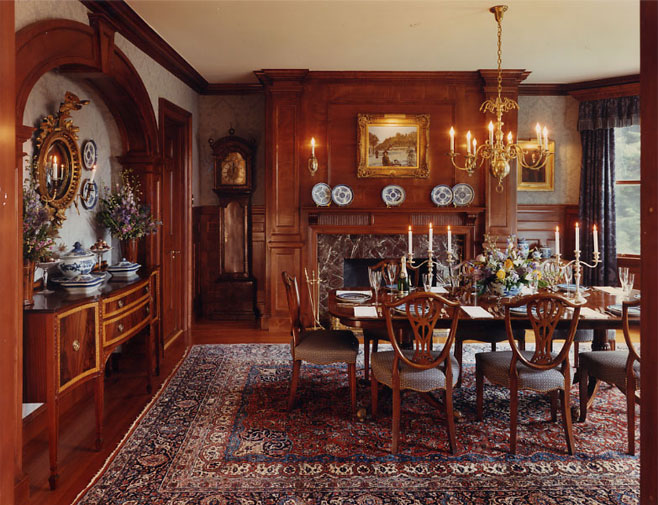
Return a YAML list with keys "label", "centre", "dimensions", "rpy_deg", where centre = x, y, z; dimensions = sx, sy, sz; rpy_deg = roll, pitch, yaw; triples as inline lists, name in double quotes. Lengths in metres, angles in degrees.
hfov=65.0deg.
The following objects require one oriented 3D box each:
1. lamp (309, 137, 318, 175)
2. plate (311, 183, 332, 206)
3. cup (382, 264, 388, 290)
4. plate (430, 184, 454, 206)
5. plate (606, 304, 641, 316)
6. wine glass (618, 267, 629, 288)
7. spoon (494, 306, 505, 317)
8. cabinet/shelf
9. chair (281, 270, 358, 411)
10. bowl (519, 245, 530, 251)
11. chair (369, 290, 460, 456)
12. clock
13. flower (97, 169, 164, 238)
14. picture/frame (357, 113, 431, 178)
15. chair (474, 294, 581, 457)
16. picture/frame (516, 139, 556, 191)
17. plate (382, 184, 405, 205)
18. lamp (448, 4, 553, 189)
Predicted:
- label: "lamp"
  centre: [-0.187, -1.197, 6.455]
  dimensions: [0.123, 0.468, 0.225]
  rpy_deg: [-1, 12, -2]
- label: "plate"
  centre: [-0.091, -0.716, 6.470]
  dimensions: [0.259, 0.280, 0.116]
  rpy_deg: [-1, 12, -3]
- label: "cup"
  centre: [0.539, 0.233, 4.943]
  dimensions: [0.075, 0.239, 0.167]
  rpy_deg: [3, 11, 1]
- label: "plate"
  centre: [1.413, -0.705, 6.469]
  dimensions: [0.271, 0.255, 0.116]
  rpy_deg: [2, 12, 11]
- label: "plate"
  centre: [2.140, 0.420, 3.742]
  dimensions: [0.293, 0.041, 0.213]
  rpy_deg: [-1, 3, 16]
- label: "wine glass"
  centre: [2.384, 0.197, 4.171]
  dimensions: [0.067, 0.185, 0.222]
  rpy_deg: [6, 14, 30]
- label: "spoon"
  centre: [1.301, 0.452, 3.938]
  dimensions: [0.085, 0.014, 0.272]
  rpy_deg: [-2, 2, 12]
- label: "cabinet/shelf"
  centre: [-1.754, 0.936, 3.779]
  dimensions: [0.446, 0.699, 1.385]
  rpy_deg: [-1, 1, -6]
- label: "chair"
  centre: [-0.043, 0.770, 4.841]
  dimensions: [0.925, 1.452, 0.973]
  rpy_deg: [0, -1, 4]
- label: "bowl"
  centre: [2.479, -0.057, 6.552]
  dimensions: [0.113, 0.118, 0.115]
  rpy_deg: [0, -2, 0]
- label: "chair"
  centre: [0.660, 0.762, 3.966]
  dimensions: [0.677, 1.156, 0.972]
  rpy_deg: [2, 12, 14]
- label: "clock"
  centre: [-1.280, -0.601, 7.015]
  dimensions: [0.600, 1.889, 0.378]
  rpy_deg: [-2, 12, -7]
- label: "flower"
  centre: [-1.976, -0.409, 5.173]
  dimensions: [0.611, 0.910, 0.675]
  rpy_deg: [3, -4, -32]
- label: "picture/frame"
  centre: [0.829, -1.360, 6.491]
  dimensions: [0.774, 0.689, 0.108]
  rpy_deg: [0, 0, 0]
- label: "chair"
  centre: [1.492, 0.793, 3.826]
  dimensions: [0.744, 1.161, 0.648]
  rpy_deg: [1, 12, 6]
- label: "picture/frame"
  centre: [2.703, -1.155, 6.777]
  dimensions: [0.737, 0.864, 0.067]
  rpy_deg: [0, -1, -1]
- label: "plate"
  centre: [0.803, -0.705, 6.468]
  dimensions: [0.292, 0.255, 0.116]
  rpy_deg: [0, 12, 2]
- label: "lamp"
  centre: [1.880, -1.550, 5.780]
  dimensions: [1.134, 1.765, 2.993]
  rpy_deg: [4, 13, 22]
